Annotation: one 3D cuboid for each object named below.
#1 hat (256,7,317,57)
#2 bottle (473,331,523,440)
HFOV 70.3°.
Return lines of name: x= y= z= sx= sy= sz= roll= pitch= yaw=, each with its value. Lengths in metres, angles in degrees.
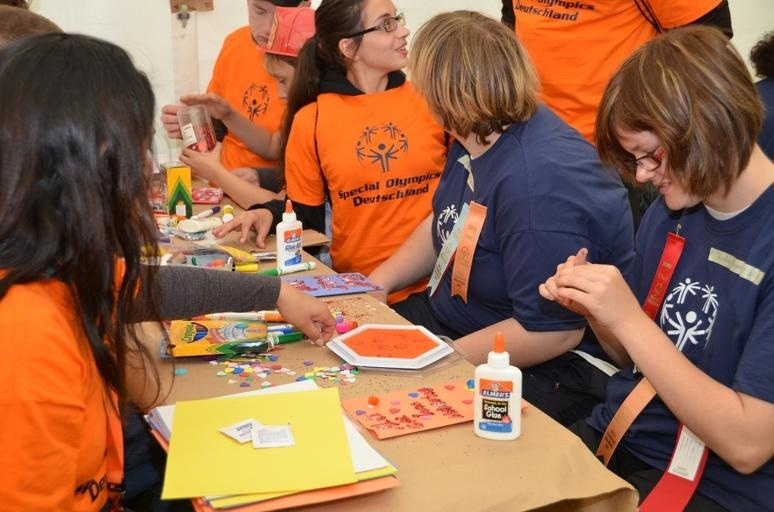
hat: x=-0.498 y=-1.148 z=2.757 sx=0.208 sy=0.156 sz=0.281 roll=-24 pitch=43 yaw=-36
bottle: x=0.251 y=0.278 z=1.210 sx=0.117 sy=0.227 sz=0.096 roll=0 pitch=18 yaw=2
